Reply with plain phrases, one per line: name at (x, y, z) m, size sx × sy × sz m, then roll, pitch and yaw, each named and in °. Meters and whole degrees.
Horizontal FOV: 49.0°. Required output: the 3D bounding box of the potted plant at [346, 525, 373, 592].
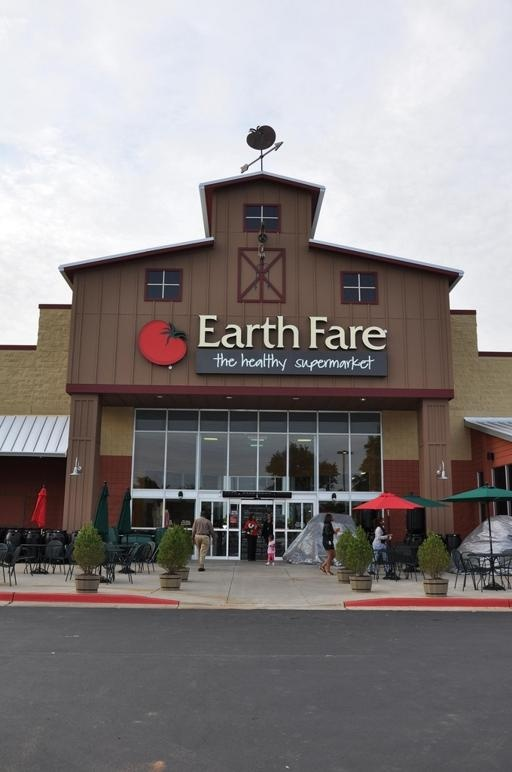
potted plant at (2.771, 4.699, 15.103) m, size 0.591 × 1.569 × 0.647 m, roll -5°, pitch -16°, yaw 21°

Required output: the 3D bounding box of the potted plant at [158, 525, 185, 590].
potted plant at (-2.208, 4.507, 14.858) m, size 0.799 × 1.595 × 1.058 m, roll 4°, pitch -13°, yaw -9°

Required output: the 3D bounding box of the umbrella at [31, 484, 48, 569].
umbrella at (-8.454, 5.246, 22.429) m, size 0.720 × 2.707 × 0.605 m, roll -5°, pitch 18°, yaw -31°

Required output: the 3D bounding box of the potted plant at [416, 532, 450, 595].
potted plant at (4.443, 4.443, 14.046) m, size 0.730 × 1.478 × 0.633 m, roll -19°, pitch -30°, yaw 41°

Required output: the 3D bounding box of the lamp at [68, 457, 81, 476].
lamp at (-8.019, 3.596, 24.954) m, size 0.525 × 0.854 × 0.288 m, roll 4°, pitch -13°, yaw -9°

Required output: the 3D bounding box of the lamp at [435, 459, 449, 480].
lamp at (8.451, 3.841, 25.550) m, size 0.524 × 0.891 × 0.476 m, roll 0°, pitch -13°, yaw 9°

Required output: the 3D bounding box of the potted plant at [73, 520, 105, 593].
potted plant at (-4.144, 4.266, 13.940) m, size 0.722 × 1.539 × 0.776 m, roll -15°, pitch -21°, yaw 32°
